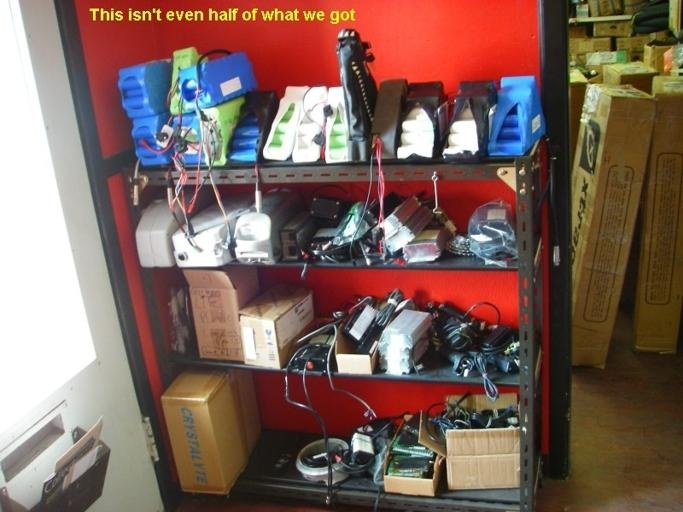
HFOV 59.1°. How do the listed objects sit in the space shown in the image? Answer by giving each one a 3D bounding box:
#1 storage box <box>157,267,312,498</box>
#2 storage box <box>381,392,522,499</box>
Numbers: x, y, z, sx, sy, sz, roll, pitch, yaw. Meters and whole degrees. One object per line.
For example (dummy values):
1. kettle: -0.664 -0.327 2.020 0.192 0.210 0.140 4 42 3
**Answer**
1. storage box: -0.484 0.526 2.984 0.601 1.190 1.187 1 9 11
2. storage box: 0.518 0.817 2.688 0.455 0.252 0.491 -4 13 10
